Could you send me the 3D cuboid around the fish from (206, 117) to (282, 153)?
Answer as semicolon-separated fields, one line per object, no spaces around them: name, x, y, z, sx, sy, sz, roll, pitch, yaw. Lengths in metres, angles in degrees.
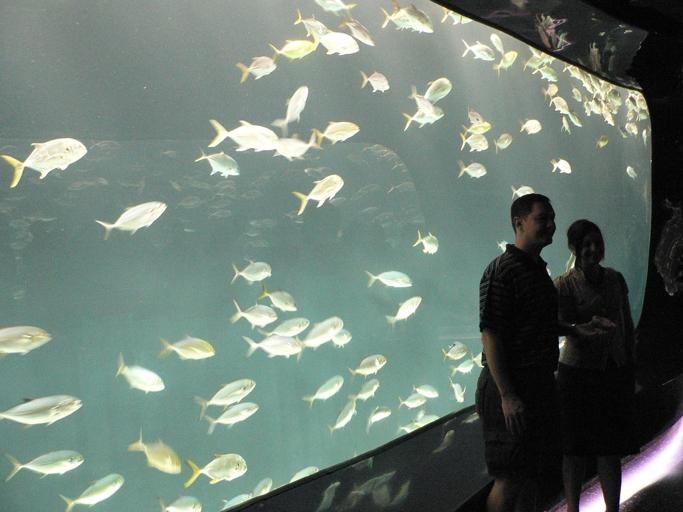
fish;-1.850;-2.297;10.694;1.135;0.775;0.761;0;-16;-39

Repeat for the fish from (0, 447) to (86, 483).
fish;-4.703;3.324;9.221;0.856;0.346;0.771;-18;-14;32

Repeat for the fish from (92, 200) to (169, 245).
fish;-3.604;-0.700;10.239;0.944;0.465;0.413;-5;-13;-23

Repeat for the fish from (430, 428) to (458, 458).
fish;1.611;2.887;9.018;0.502;0.156;0.193;-32;-34;-36

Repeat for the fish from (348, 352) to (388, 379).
fish;0.520;2.028;10.846;0.597;0.334;0.569;-10;-12;0

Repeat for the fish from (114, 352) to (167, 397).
fish;-3.514;2.043;10.102;0.648;0.646;0.569;-2;-15;-34

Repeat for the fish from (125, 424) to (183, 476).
fish;-2.966;3.251;9.411;0.619;0.563;0.587;-6;-13;-19
